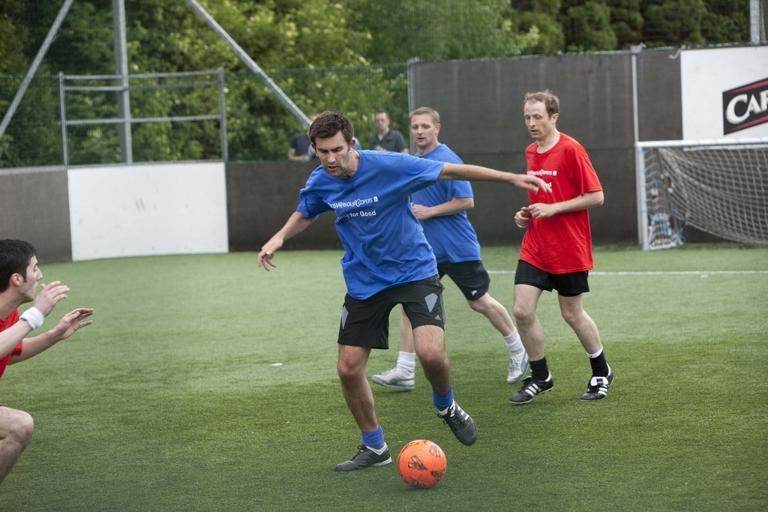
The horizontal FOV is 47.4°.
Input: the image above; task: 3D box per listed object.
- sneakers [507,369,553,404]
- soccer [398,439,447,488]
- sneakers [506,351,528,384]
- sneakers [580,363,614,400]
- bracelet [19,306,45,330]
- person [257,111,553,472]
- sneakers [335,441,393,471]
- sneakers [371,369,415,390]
[{"bbox_3d":[1.360,1.197,8.183,0.511,0.214,0.180,-23,8,-24],"label":"sneakers"},{"bbox_3d":[0.293,1.633,6.850,0.344,0.360,0.356,4,-19,1],"label":"soccer"},{"bbox_3d":[1.303,1.097,8.568,0.123,0.154,0.382,-28,18,36],"label":"sneakers"},{"bbox_3d":[2.000,1.185,8.158,0.164,0.164,0.443,-1,29,37],"label":"sneakers"},{"bbox_3d":[-2.561,0.454,6.407,0.140,0.146,0.175,13,-7,-3],"label":"bracelet"},{"bbox_3d":[0.018,0.258,7.086,1.428,2.806,0.831,-1,12,3],"label":"person"},{"bbox_3d":[-0.135,1.633,7.153,0.498,0.216,0.173,-1,-2,-12],"label":"sneakers"},{"bbox_3d":[0.084,1.188,8.546,0.438,0.207,0.174,7,-4,1],"label":"sneakers"}]
